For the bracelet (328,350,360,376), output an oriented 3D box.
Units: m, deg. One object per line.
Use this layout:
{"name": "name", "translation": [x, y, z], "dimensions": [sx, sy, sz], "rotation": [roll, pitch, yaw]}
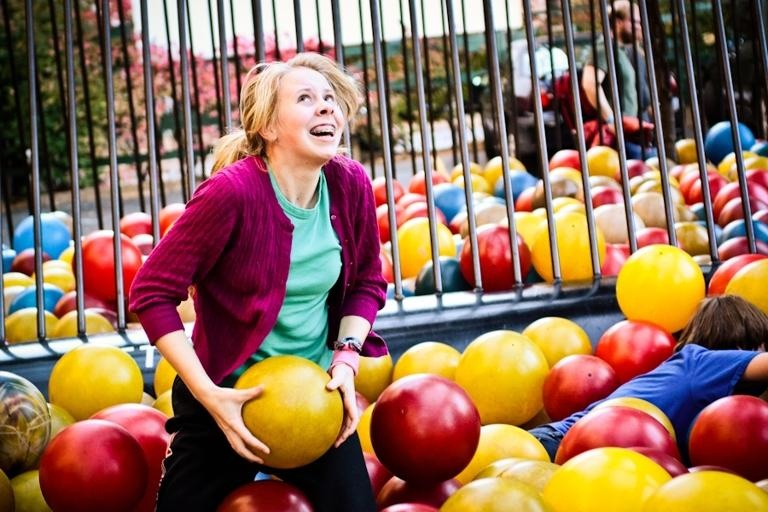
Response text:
{"name": "bracelet", "translation": [-0.150, 0.400, 2.904], "dimensions": [0.082, 0.093, 0.092], "rotation": [-2, -6, -2]}
